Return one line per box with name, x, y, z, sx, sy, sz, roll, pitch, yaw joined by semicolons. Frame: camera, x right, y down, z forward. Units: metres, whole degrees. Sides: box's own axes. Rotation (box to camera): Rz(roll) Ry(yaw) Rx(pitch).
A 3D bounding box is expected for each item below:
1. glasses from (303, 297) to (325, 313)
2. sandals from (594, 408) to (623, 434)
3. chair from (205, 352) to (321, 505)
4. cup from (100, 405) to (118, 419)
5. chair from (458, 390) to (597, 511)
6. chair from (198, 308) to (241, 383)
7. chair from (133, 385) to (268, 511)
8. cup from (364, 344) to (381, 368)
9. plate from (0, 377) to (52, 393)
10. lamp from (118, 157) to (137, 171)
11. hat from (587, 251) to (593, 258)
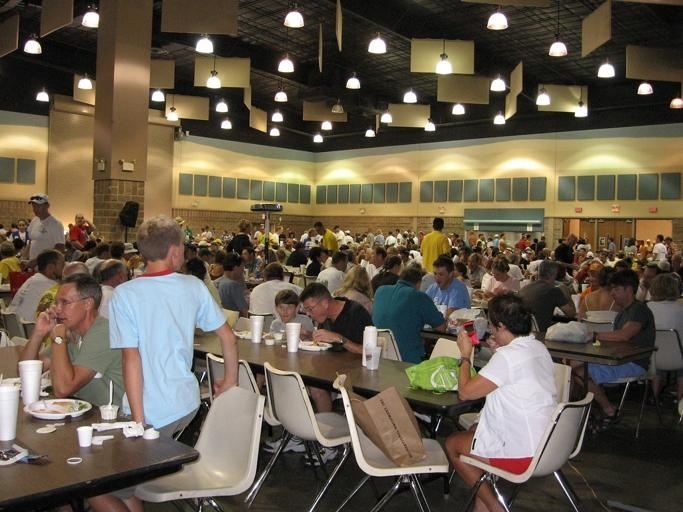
glasses;-0.222;0.405;4.520;0.148;0.124;0.112;0;-9;-29
sandals;2.555;1.616;5.202;0.400;0.171;0.151;-10;5;-44
chair;-0.738;1.135;3.949;0.834;1.142;0.763;-1;0;-30
cup;-1.142;0.776;2.673;0.074;0.046;0.077;1;-5;0
chair;1.168;1.172;3.257;0.792;0.615;0.417;2;1;-20
chair;-0.758;0.572;3.308;0.245;0.447;0.304;4;6;43
chair;-0.684;1.056;2.940;0.672;0.598;0.632;5;-3;-35
cup;0.221;0.722;3.854;0.147;0.148;0.124;1;-7;8
plate;-1.623;0.670;2.800;0.160;0.133;0.175;-1;-9;0
lamp;-4.005;-1.719;10.262;0.119;0.260;0.311;3;1;37
hat;7.121;-0.043;15.518;0.194;0.140;0.262;-4;-13;7
